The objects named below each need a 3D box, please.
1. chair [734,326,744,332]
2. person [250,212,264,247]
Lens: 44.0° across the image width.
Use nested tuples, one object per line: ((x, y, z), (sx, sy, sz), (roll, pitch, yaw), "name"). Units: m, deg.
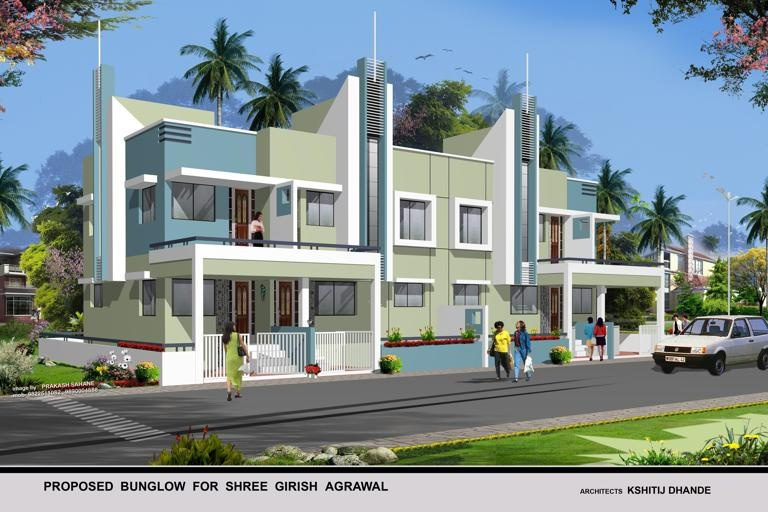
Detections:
((14.640, 3.047, 39.484), (0.198, 0.304, 1.087), (-7, -10, 35), "chair")
((-5.188, -0.815, 39.134), (0.712, 1.970, 0.765), (0, 5, 1), "person")
